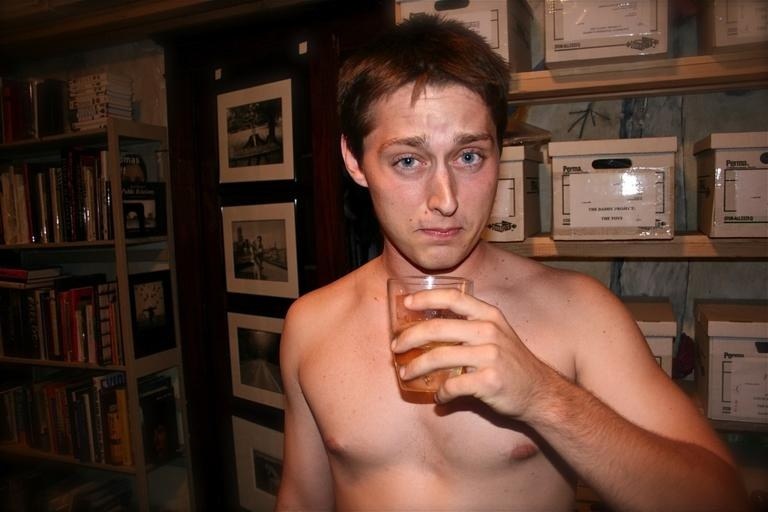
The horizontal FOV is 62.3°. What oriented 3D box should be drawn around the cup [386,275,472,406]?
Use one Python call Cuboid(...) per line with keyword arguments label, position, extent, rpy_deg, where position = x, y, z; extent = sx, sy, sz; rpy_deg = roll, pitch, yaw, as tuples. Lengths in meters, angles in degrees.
Cuboid(label="cup", position=(0.183, 0.334, 2.420), extent=(0.306, 0.531, 0.303), rpy_deg=(-1, 3, 0))
